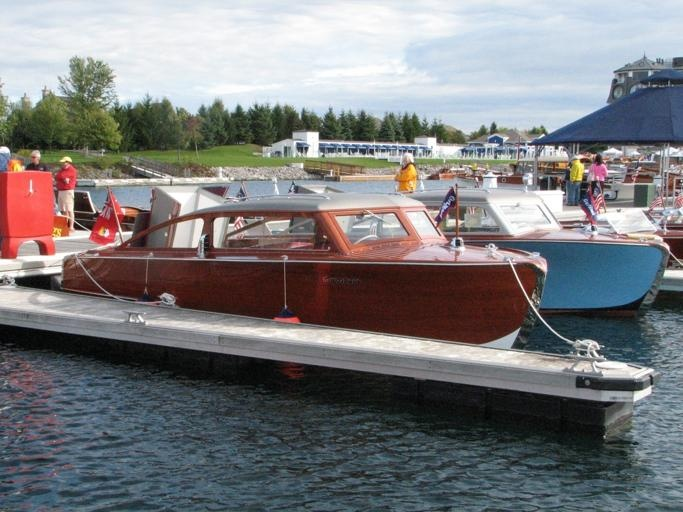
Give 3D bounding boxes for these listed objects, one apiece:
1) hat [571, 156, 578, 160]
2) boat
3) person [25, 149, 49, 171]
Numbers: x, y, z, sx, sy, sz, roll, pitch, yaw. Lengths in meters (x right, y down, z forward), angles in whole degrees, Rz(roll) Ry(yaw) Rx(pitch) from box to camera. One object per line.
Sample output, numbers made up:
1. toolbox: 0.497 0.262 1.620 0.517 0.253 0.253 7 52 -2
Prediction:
1. hat: 6.746 -2.839 22.639 0.271 0.076 0.284 -1 1 9
2. boat: 0.202 0.048 11.054 8.258 1.497 2.150 1 6 17
3. person: -6.613 -2.074 17.033 0.409 0.412 0.994 -6 8 -19
